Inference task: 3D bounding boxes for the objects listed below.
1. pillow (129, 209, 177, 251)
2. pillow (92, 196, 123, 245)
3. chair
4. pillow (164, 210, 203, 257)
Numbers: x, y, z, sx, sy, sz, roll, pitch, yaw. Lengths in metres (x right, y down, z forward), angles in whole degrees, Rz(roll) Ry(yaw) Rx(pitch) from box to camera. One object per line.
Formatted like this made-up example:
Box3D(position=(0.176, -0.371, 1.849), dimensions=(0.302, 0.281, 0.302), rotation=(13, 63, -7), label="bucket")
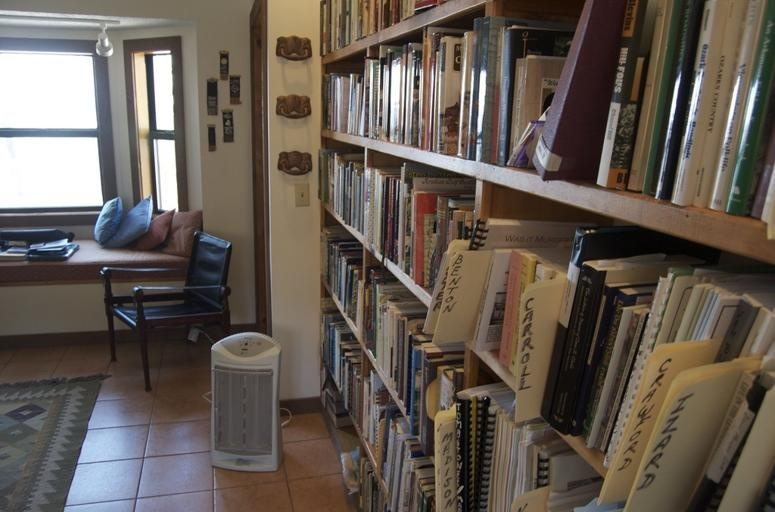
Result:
Box3D(position=(-1.979, -0.155, 4.833), dimensions=(0.300, 0.083, 0.283), rotation=(17, 22, -18), label="pillow")
Box3D(position=(-2.411, -0.267, 5.024), dimensions=(0.215, 0.382, 0.459), rotation=(-4, -7, -35), label="pillow")
Box3D(position=(-1.622, 0.145, 4.531), dimensions=(1.034, 1.373, 1.208), rotation=(-5, 10, -38), label="chair")
Box3D(position=(-1.647, -0.199, 4.699), dimensions=(0.356, 0.363, 0.129), rotation=(-1, -14, 46), label="pillow")
